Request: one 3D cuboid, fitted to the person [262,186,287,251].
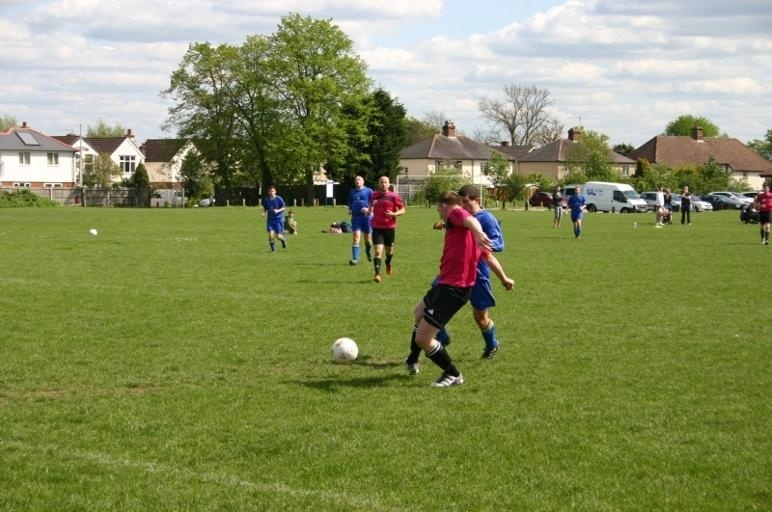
[{"bbox_3d":[-3.188,-1.045,23.982,0.559,1.966,1.107,-2,15,-9],"label":"person"}]

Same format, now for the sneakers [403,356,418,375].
[{"bbox_3d":[0.360,1.533,11.559,0.115,0.119,0.270,3,9,-5],"label":"sneakers"}]

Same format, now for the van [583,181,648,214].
[{"bbox_3d":[15.841,-4.045,58.040,2.437,2.267,4.626,-6,6,-42],"label":"van"}]

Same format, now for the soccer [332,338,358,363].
[{"bbox_3d":[-0.564,1.308,12.108,0.324,0.323,0.324,14,30,22],"label":"soccer"}]

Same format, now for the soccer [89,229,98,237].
[{"bbox_3d":[-10.291,-0.818,29.394,0.305,0.167,0.303,28,9,-2],"label":"soccer"}]

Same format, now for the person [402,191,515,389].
[{"bbox_3d":[0.968,0.425,11.306,1.318,2.510,1.158,5,16,19],"label":"person"}]

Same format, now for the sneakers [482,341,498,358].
[{"bbox_3d":[1.527,1.366,12.234,0.206,0.069,0.146,-40,-35,21],"label":"sneakers"}]

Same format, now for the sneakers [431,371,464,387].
[{"bbox_3d":[0.839,1.631,11.244,0.474,0.184,0.161,-4,1,-12],"label":"sneakers"}]
